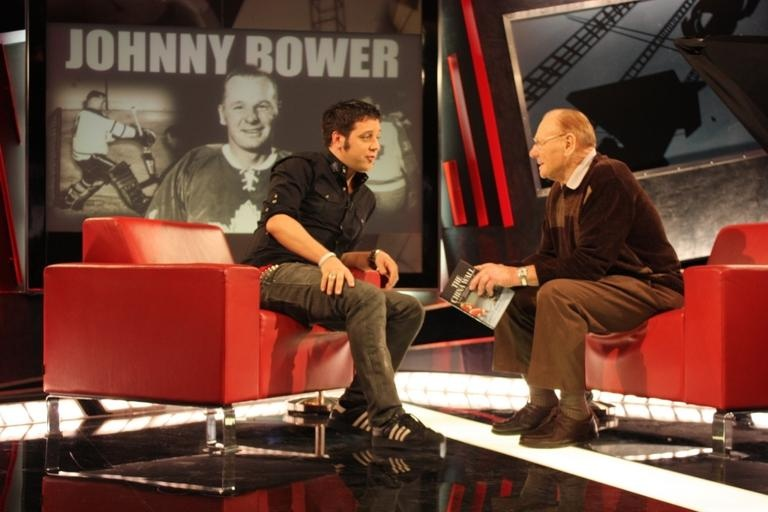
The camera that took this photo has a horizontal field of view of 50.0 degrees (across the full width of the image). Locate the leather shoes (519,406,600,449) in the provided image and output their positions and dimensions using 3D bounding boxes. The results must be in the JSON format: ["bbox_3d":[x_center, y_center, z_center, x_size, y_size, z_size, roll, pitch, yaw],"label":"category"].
[{"bbox_3d":[0.802,0.791,3.803,0.379,0.163,0.142,-1,-1,-12],"label":"leather shoes"}]

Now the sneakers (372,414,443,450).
[{"bbox_3d":[0.107,0.779,3.713,0.328,0.152,0.190,0,6,1],"label":"sneakers"}]

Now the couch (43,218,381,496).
[{"bbox_3d":[-0.831,0.432,4.188,1.008,1.222,1.335,0,-2,23],"label":"couch"}]

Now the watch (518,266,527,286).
[{"bbox_3d":[0.653,0.095,3.854,0.049,0.072,0.075,1,-6,0],"label":"watch"}]

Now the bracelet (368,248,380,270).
[{"bbox_3d":[-0.057,0.016,4.362,0.063,0.095,0.091,3,0,24],"label":"bracelet"}]

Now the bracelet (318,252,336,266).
[{"bbox_3d":[-0.262,0.006,3.801,0.060,0.024,0.063,-45,-1,-38],"label":"bracelet"}]
